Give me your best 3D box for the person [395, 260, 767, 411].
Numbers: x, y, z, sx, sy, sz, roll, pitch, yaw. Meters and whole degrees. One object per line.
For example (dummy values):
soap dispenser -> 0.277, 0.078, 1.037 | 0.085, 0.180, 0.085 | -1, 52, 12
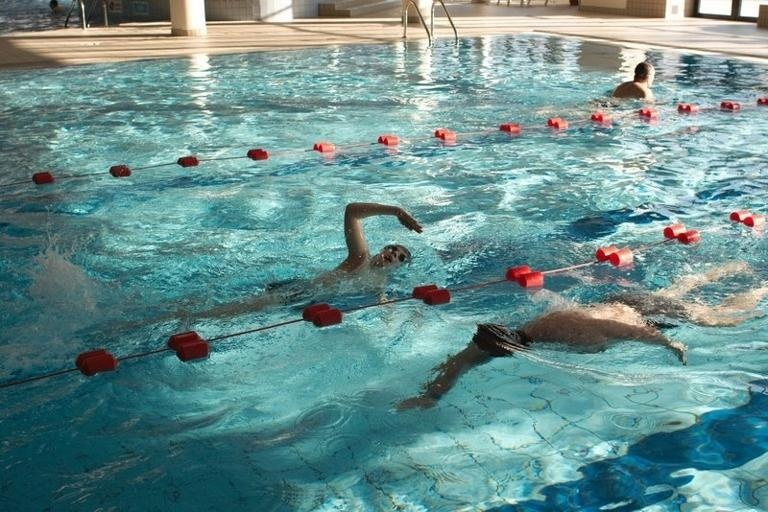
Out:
person -> 1.125, 0.351, 2.839 | 2.350, 0.218, 0.594 | -6, -2, -19
